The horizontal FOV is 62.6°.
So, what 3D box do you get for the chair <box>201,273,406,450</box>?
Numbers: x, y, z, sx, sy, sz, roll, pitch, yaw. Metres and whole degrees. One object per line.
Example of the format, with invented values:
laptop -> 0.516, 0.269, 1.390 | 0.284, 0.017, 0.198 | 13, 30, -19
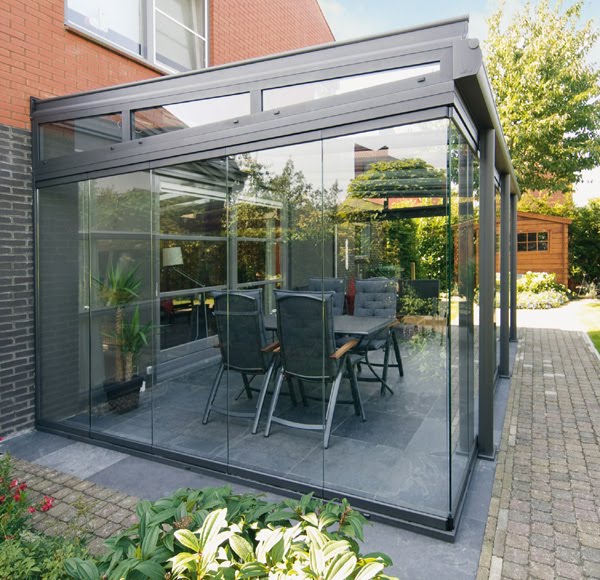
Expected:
chair -> 0.025, 0.406, 3.416 | 0.909, 0.756, 1.224 | 0, 4, 23
